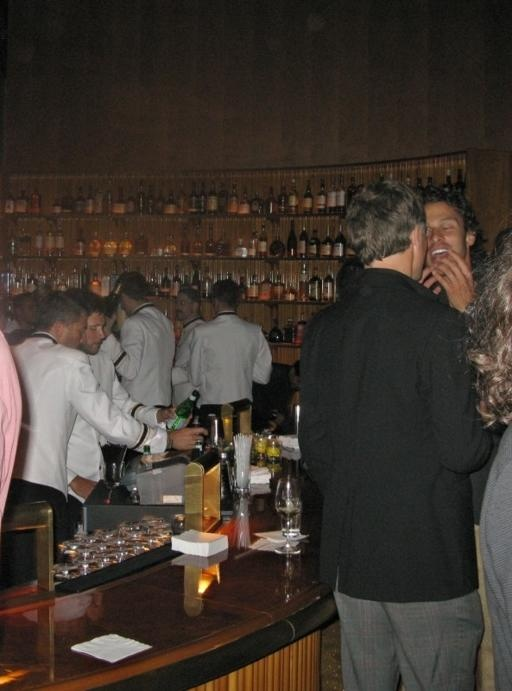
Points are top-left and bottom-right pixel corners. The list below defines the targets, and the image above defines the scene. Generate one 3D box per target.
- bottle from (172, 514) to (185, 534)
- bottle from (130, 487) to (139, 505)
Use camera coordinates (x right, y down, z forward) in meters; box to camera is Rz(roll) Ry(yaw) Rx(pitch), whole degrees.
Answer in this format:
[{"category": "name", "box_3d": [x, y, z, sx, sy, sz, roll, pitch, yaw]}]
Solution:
[{"category": "bottle", "box_3d": [-0.199, 0.481, 1.880, 0.042, 0.036, 0.040, 0, -6, 6]}, {"category": "bottle", "box_3d": [-0.364, 0.453, 2.108, 0.025, 0.030, 0.010, 3, -48, -14]}]
